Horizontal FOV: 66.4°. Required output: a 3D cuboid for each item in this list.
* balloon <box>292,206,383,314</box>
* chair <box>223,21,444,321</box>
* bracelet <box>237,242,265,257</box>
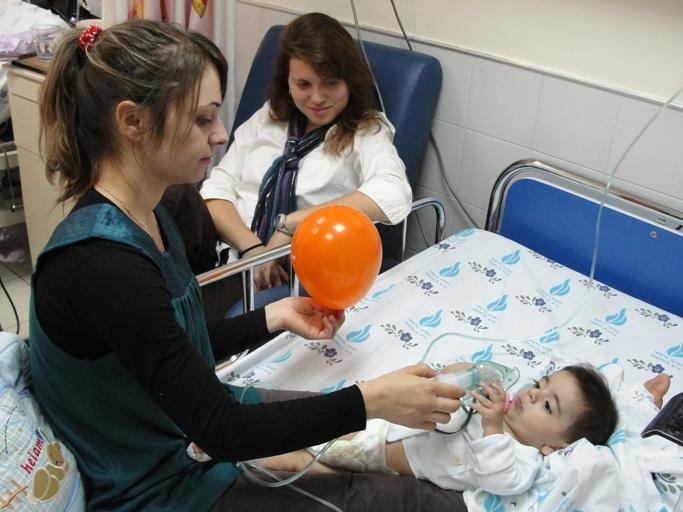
[{"bbox_3d":[0.002,-0.020,1.406,0.226,0.299,0.245,-3,22,0],"label":"balloon"},{"bbox_3d":[0.104,-0.434,2.493,0.724,0.852,0.591,-11,20,-3],"label":"chair"},{"bbox_3d":[-0.364,-0.033,2.034,0.064,0.050,0.064,-19,28,-34],"label":"bracelet"}]
